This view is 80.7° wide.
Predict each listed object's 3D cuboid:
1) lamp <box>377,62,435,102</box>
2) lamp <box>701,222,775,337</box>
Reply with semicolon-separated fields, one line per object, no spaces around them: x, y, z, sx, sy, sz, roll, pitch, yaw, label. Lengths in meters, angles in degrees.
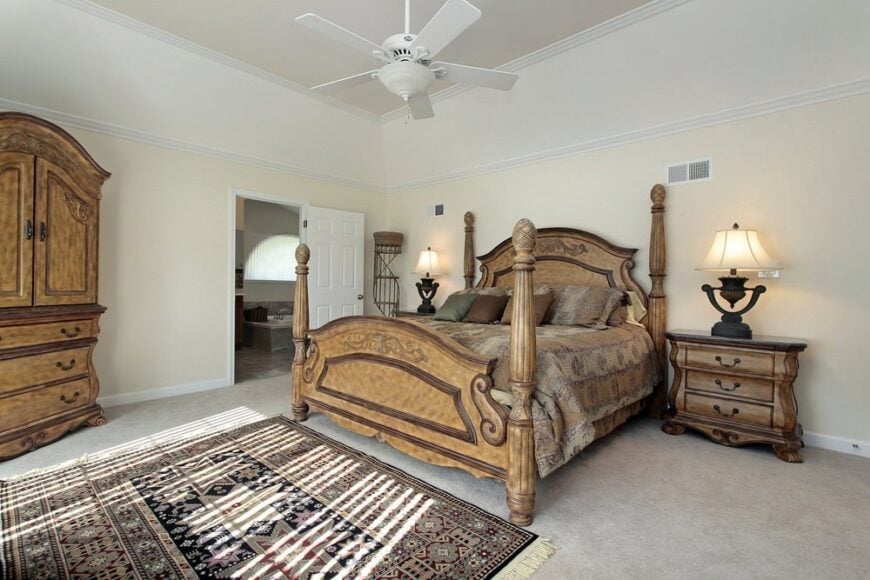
-0.247;-1.742;4.215;0.319;0.116;0.324;-3;-14;10;lamp
2.979;-0.116;5.019;0.609;1.122;0.588;2;4;33;lamp
